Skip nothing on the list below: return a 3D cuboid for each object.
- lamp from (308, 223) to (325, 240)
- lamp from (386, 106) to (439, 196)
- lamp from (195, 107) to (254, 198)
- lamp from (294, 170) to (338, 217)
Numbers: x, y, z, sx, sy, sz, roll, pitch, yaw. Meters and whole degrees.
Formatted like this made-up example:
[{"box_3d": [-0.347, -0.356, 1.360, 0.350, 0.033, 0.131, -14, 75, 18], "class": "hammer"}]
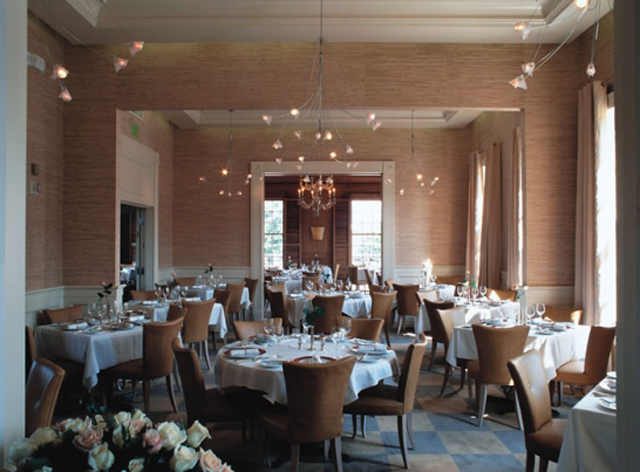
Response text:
[{"box_3d": [-0.065, -0.151, 16.047, 0.493, 0.379, 0.479, -6, -7, 37], "class": "lamp"}, {"box_3d": [2.076, -1.998, 10.560, 0.967, 1.799, 0.900, 8, 34, 15], "class": "lamp"}, {"box_3d": [-2.188, -1.925, 10.801, 1.169, 1.935, 0.500, -1, 8, -2], "class": "lamp"}, {"box_3d": [-0.080, -1.649, 14.989, 1.280, 1.750, 1.201, -2, 1, -29], "class": "lamp"}]
